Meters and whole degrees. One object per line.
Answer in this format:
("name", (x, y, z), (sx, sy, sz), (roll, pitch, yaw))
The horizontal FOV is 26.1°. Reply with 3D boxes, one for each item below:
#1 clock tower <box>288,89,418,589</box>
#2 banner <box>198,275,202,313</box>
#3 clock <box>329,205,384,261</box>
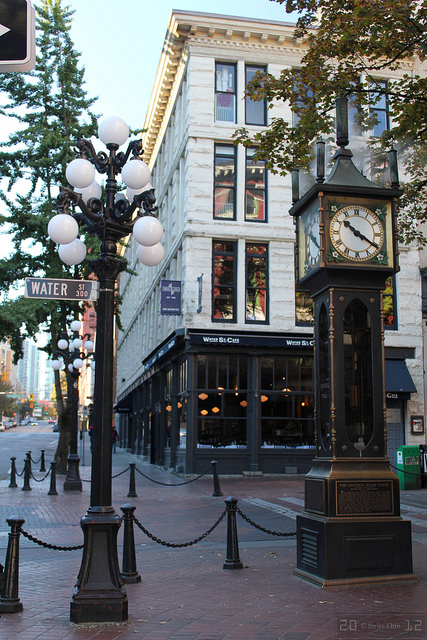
("clock tower", (1.696, 0.075, 11.078), (1.591, 5.870, 1.526), (-5, -12, 22))
("banner", (-0.368, -0.726, 26.027), (0.109, 1.036, 0.214), (-1, -6, 1))
("clock", (1.667, -1.002, 10.893), (0.701, 0.648, 0.033), (7, -24, -21))
